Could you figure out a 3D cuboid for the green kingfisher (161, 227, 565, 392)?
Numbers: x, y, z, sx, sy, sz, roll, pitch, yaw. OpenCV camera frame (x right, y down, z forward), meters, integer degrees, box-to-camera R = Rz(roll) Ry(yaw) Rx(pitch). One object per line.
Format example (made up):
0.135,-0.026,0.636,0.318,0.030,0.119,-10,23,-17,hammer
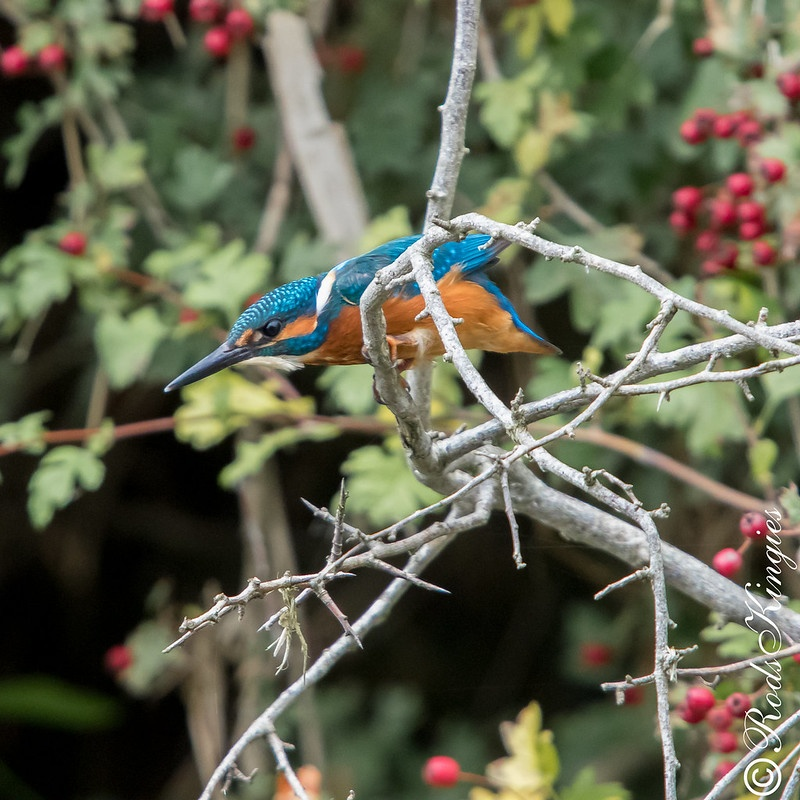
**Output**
-0.080,-0.194,2.527,1.035,0.301,0.299,-13,13,-4,green kingfisher
